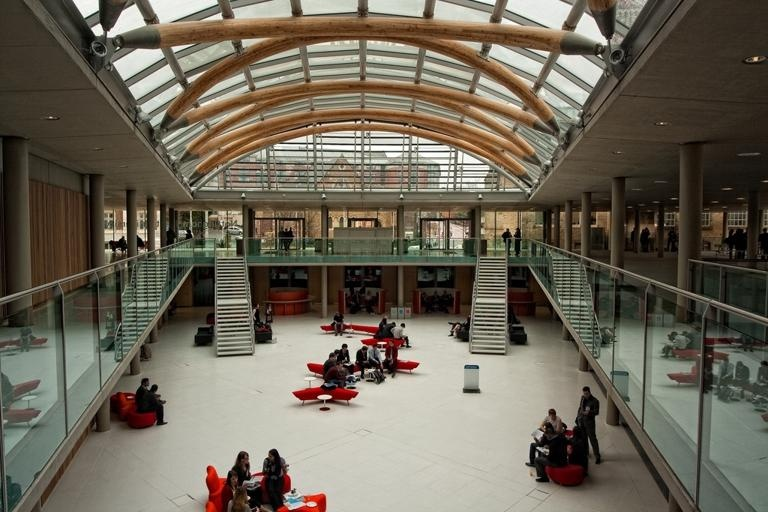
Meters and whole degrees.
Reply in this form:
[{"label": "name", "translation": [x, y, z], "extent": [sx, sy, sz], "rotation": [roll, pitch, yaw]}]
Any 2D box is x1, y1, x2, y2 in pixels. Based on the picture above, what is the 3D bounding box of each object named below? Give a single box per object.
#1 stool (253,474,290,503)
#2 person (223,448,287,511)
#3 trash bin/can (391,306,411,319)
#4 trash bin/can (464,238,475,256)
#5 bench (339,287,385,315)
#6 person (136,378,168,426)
[{"label": "stool", "translation": [-2.845, 5.799, 12.493], "extent": [0.780, 0.502, 0.758], "rotation": [4, 7, 12]}, {"label": "person", "translation": [-3.130, 5.476, 12.131], "extent": [1.527, 0.886, 1.499], "rotation": [5, -5, -39]}, {"label": "trash bin/can", "translation": [1.275, 4.110, 35.437], "extent": [1.096, 0.521, 1.057], "rotation": [0, 0, -2]}, {"label": "trash bin/can", "translation": [6.372, -0.632, 35.465], "extent": [1.099, 1.084, 1.054], "rotation": [-1, 7, -7]}, {"label": "bench", "translation": [-1.391, 3.454, 38.584], "extent": [3.144, 1.755, 4.277], "rotation": [2, 4, 22]}, {"label": "person", "translation": [-8.020, 4.946, 16.883], "extent": [0.908, 1.589, 0.704], "rotation": [-2, 5, -24]}]
